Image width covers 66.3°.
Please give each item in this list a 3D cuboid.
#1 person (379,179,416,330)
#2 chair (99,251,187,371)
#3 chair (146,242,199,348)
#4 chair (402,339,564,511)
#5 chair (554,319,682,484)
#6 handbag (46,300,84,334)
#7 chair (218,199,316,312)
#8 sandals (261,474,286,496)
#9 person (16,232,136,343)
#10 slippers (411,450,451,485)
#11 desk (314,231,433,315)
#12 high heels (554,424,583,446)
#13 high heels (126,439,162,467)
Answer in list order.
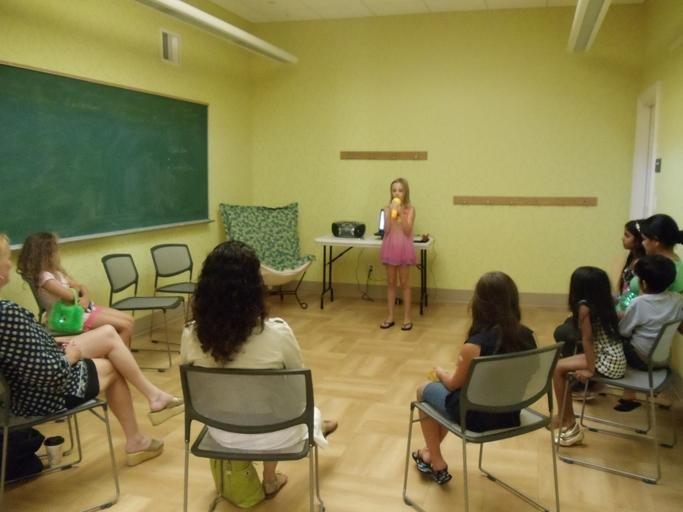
[{"bbox_3d":[0.638,-0.032,5.913,0.394,1.668,0.498,0,8,7],"label":"person"},{"bbox_3d":[-1.924,0.432,5.186,0.462,0.902,0.585,-12,-1,25],"label":"chair"},{"bbox_3d":[-1.664,0.360,5.580,0.604,0.907,0.532,10,14,27],"label":"chair"},{"bbox_3d":[0.829,0.939,2.919,0.737,1.011,0.660,-7,10,-37],"label":"chair"},{"bbox_3d":[1.931,0.778,3.871,0.912,1.425,1.002,2,4,38],"label":"chair"},{"bbox_3d":[-2.088,0.432,4.007,0.227,0.347,0.188,12,-2,-25],"label":"handbag"},{"bbox_3d":[-0.877,-0.018,6.634,0.996,1.258,1.018,-3,9,-20],"label":"chair"},{"bbox_3d":[-0.386,1.344,3.067,0.064,0.065,0.147,0,6,14],"label":"sandals"},{"bbox_3d":[-2.011,0.385,4.139,0.899,1.148,0.425,0,9,-13],"label":"person"},{"bbox_3d":[0.539,1.313,3.231,0.097,0.086,0.252,-9,-2,-21],"label":"slippers"},{"bbox_3d":[0.421,0.267,6.752,1.386,1.002,0.738,1,10,10],"label":"desk"},{"bbox_3d":[1.545,1.213,3.548,0.280,0.147,0.103,4,-5,-33],"label":"high heels"},{"bbox_3d":[-1.245,1.266,3.400,0.099,0.108,0.259,3,3,30],"label":"high heels"}]
